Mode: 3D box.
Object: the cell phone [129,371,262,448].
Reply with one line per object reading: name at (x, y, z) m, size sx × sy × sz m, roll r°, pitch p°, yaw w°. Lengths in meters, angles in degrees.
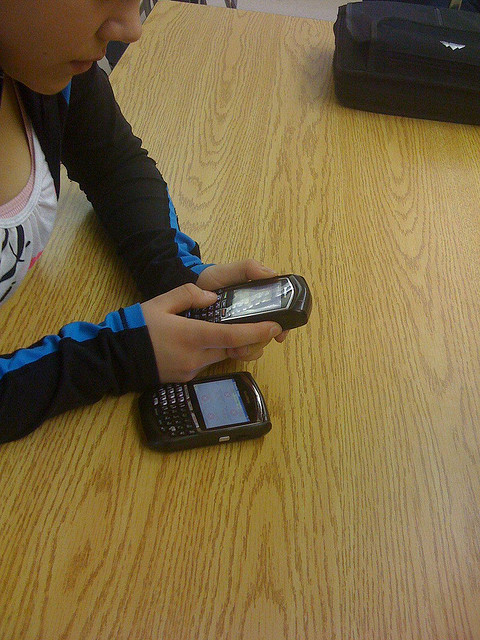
cell phone at (-0.043, 0.097, 0.537) m, size 0.112 × 0.031 × 0.073 m, roll -6°, pitch 54°, yaw -21°
